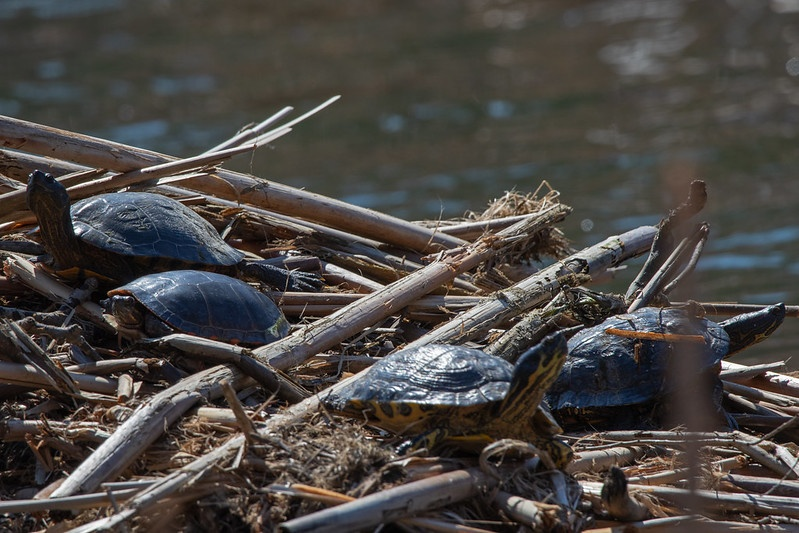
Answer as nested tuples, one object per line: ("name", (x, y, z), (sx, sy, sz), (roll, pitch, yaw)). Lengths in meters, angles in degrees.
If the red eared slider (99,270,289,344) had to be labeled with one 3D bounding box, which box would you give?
("red eared slider", (-1.749, 0.358, 9.439), (1.279, 0.269, 0.822), (6, 5, -30))
